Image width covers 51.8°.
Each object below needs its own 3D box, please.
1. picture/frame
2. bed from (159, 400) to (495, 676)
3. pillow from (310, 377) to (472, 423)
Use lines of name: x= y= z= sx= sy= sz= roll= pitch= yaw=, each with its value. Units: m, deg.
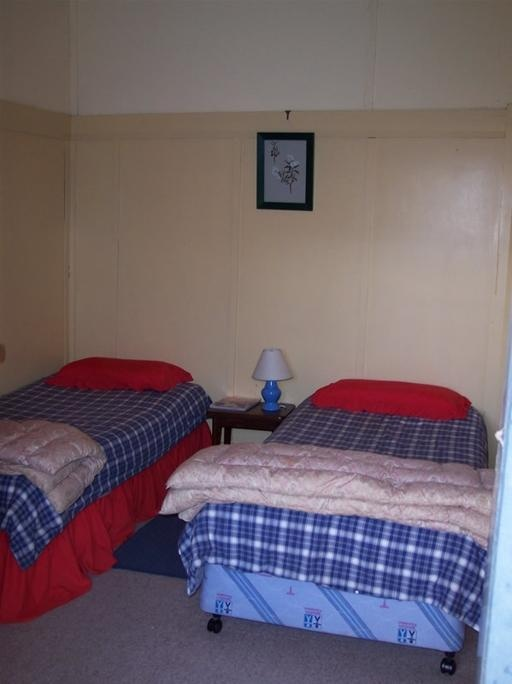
picture/frame: x=0.245 y=-1.356 z=4.110 sx=0.542 sy=0.736 sz=0.052 roll=2 pitch=10 yaw=12
bed: x=0.418 y=0.641 z=2.382 sx=1.493 sy=0.370 sz=0.988 roll=-14 pitch=12 yaw=33
pillow: x=0.930 y=0.393 z=3.611 sx=0.751 sy=0.146 sz=0.439 roll=4 pitch=6 yaw=18
